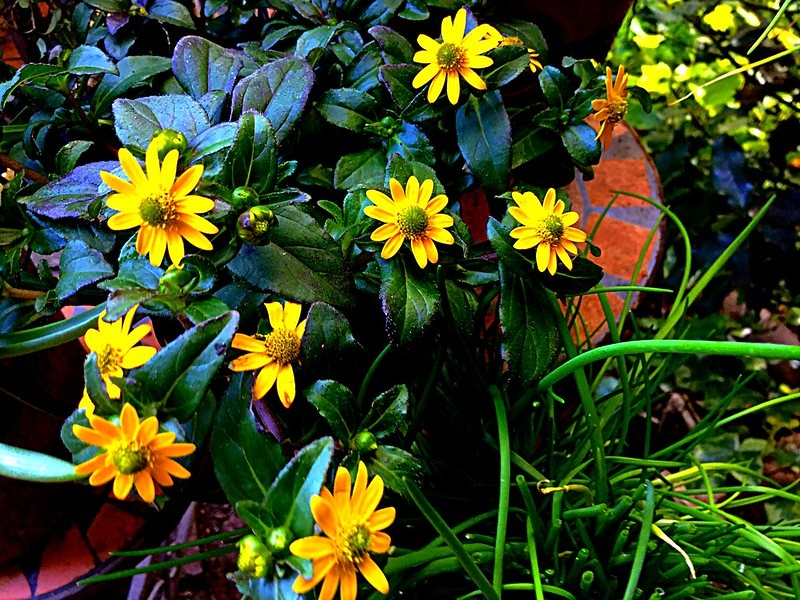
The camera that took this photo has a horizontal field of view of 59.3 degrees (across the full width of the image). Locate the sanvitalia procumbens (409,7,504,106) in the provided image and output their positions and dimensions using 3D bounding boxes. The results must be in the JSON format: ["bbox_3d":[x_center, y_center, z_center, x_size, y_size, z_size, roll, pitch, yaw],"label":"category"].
[{"bbox_3d":[0.099,-0.441,1.275,0.143,0.165,0.155,14,28,2],"label":"sanvitalia procumbens"}]

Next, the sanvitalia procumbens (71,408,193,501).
[{"bbox_3d":[-0.380,0.216,0.985,0.171,0.132,0.061,18,27,8],"label":"sanvitalia procumbens"}]

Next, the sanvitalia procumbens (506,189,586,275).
[{"bbox_3d":[0.266,-0.134,1.229,0.169,0.080,0.187,33,0,3],"label":"sanvitalia procumbens"}]

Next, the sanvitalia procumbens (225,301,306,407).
[{"bbox_3d":[-0.211,0.084,1.109,0.105,0.133,0.106,8,28,-9],"label":"sanvitalia procumbens"}]

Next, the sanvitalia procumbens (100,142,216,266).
[{"bbox_3d":[-0.355,-0.139,1.050,0.183,0.177,0.051,6,58,-45],"label":"sanvitalia procumbens"}]

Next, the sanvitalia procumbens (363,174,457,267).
[{"bbox_3d":[0.022,-0.133,1.165,0.043,0.151,0.150,-10,-5,-41],"label":"sanvitalia procumbens"}]
